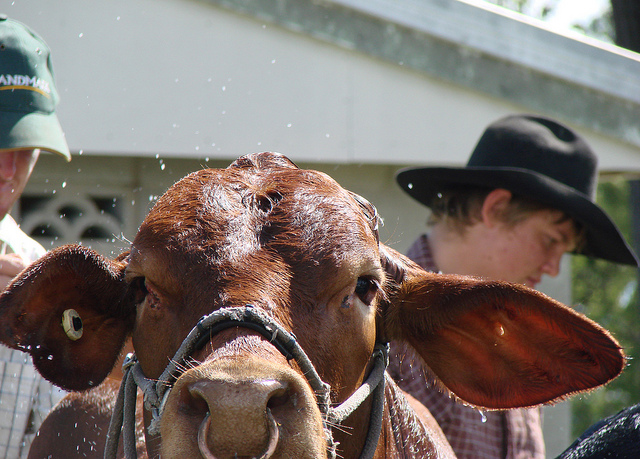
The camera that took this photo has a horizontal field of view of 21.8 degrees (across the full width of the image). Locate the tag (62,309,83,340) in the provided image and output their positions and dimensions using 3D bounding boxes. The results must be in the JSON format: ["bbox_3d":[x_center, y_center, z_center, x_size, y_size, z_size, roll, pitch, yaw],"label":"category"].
[{"bbox_3d":[-1.883,0.728,12.664,0.047,0.207,0.169,-9,-21,41],"label":"tag"}]
